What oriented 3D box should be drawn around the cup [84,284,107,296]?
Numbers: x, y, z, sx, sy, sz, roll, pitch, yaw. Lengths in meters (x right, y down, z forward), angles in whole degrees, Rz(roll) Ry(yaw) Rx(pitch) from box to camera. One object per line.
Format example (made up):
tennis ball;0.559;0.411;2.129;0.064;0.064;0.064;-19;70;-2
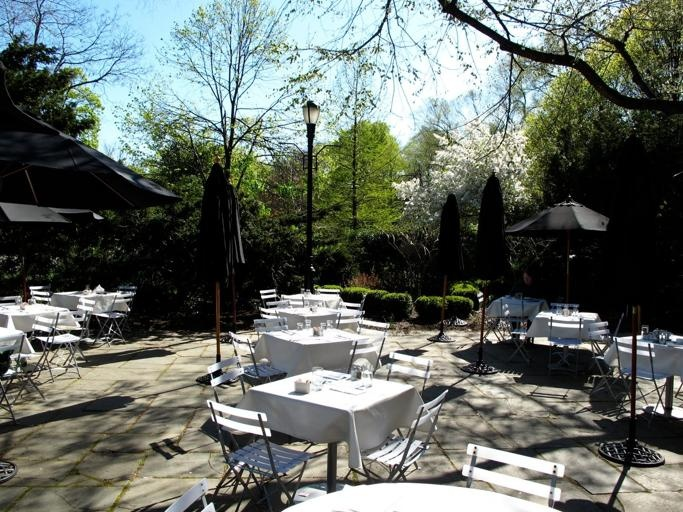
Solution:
cup;-6.349;0.928;13.566;0.398;0.214;0.430;0;-2;0
